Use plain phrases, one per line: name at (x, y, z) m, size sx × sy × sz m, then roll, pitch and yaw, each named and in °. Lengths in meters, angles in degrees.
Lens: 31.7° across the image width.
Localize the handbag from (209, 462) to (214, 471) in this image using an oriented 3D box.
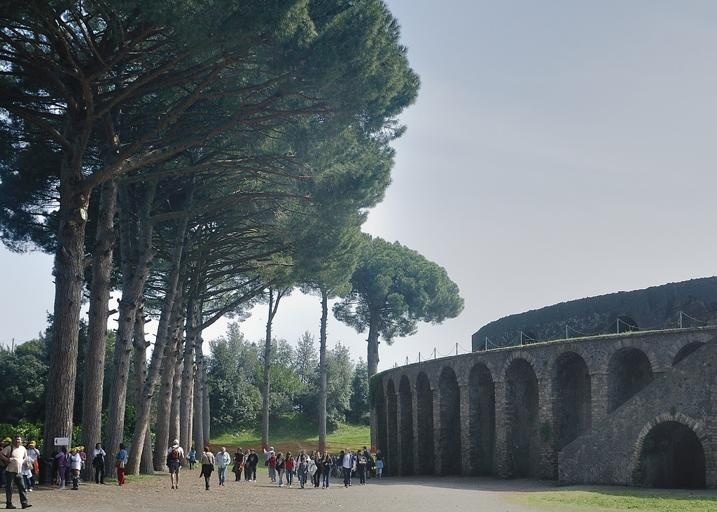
handbag at (-5.460, 7.851, 46.827) m, size 0.091 × 0.329 × 0.181 m, roll -3°, pitch 19°, yaw 7°

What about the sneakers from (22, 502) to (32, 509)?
sneakers at (-10.148, 7.598, 38.649) m, size 0.173 × 0.171 × 0.278 m, roll -11°, pitch -20°, yaw 32°

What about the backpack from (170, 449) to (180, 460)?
backpack at (-6.653, 7.147, 45.749) m, size 0.390 × 0.544 × 0.300 m, roll -1°, pitch -6°, yaw 9°
